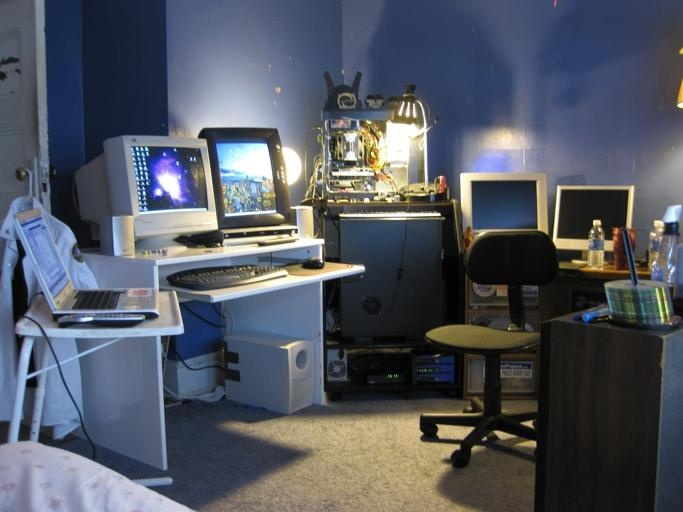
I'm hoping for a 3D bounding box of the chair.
[{"bbox_3d":[0.734,0.418,2.903,0.661,1.080,0.540,-3,11,-14],"label":"chair"}]

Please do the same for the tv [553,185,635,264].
[{"bbox_3d":[1.483,-0.197,3.455,0.420,0.463,0.157,3,0,32],"label":"tv"}]

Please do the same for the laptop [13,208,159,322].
[{"bbox_3d":[-0.913,0.072,2.143,0.431,0.359,0.469,0,8,-10],"label":"laptop"}]

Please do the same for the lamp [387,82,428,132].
[{"bbox_3d":[0.403,-0.898,3.592,0.236,0.274,0.338,1,11,4],"label":"lamp"}]

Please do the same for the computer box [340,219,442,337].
[{"bbox_3d":[0.312,0.125,3.696,0.722,1.027,0.596,0,1,-1],"label":"computer box"}]

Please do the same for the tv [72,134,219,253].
[{"bbox_3d":[-1.006,-0.274,3.008,0.579,0.568,0.623,5,11,34],"label":"tv"}]

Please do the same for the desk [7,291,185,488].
[{"bbox_3d":[-1.003,0.532,2.399,0.578,0.604,0.749,0,13,-11],"label":"desk"}]

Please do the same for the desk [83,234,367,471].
[{"bbox_3d":[-0.571,0.373,3.087,1.007,1.104,1.320,1,5,33],"label":"desk"}]

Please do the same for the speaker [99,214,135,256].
[{"bbox_3d":[-1.024,-0.095,2.718,0.196,0.232,0.119,-1,7,-7],"label":"speaker"}]

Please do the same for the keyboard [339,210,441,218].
[{"bbox_3d":[0.280,-0.241,3.410,0.583,0.024,0.121,0,12,-2],"label":"keyboard"}]

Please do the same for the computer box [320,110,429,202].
[{"bbox_3d":[0.276,-0.619,3.777,0.704,0.634,0.403,5,10,30],"label":"computer box"}]

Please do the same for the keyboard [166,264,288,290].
[{"bbox_3d":[-0.512,0.085,2.778,0.299,0.062,0.574,12,16,43],"label":"keyboard"}]
